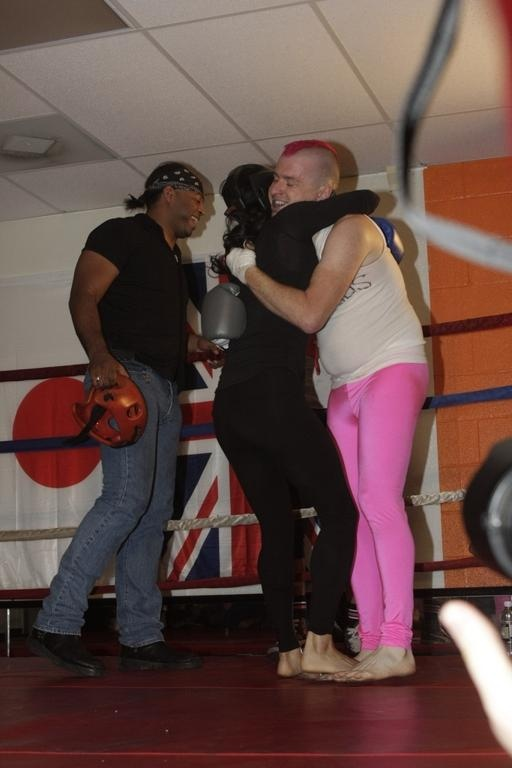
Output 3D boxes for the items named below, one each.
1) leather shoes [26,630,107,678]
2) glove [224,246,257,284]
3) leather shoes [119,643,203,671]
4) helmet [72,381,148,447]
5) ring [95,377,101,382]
[{"bbox_3d":[-0.457,0.653,1.762,0.198,0.108,0.081,13,29,29],"label":"leather shoes"},{"bbox_3d":[-0.040,-0.303,1.816,0.108,0.079,0.080,-4,5,-31],"label":"glove"},{"bbox_3d":[-0.248,0.727,1.944,0.225,0.077,0.074,-1,-13,2],"label":"leather shoes"},{"bbox_3d":[-0.372,0.080,1.921,0.142,0.130,0.161,0,20,-7],"label":"helmet"},{"bbox_3d":[-0.406,-0.010,1.848,0.011,0.012,0.004,3,0,9],"label":"ring"}]
